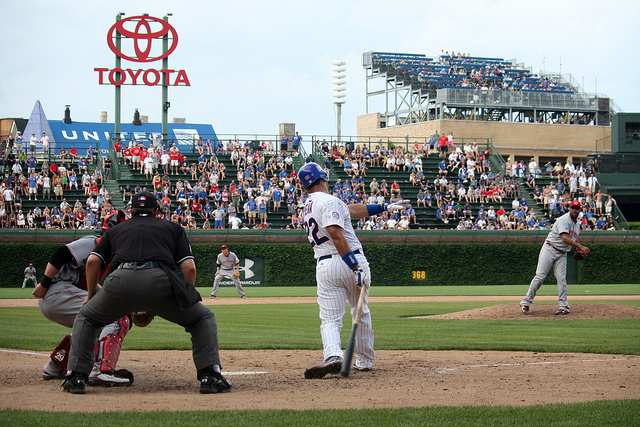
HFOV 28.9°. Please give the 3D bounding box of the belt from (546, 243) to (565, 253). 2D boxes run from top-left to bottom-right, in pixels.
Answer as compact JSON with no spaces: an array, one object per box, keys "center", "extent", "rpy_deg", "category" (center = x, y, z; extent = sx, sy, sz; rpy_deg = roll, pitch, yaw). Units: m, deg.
[{"center":[8.171,1.229,43.211],"extent":[0.386,0.151,0.340],"rpy_deg":[39,1,29],"category":"belt"}]
